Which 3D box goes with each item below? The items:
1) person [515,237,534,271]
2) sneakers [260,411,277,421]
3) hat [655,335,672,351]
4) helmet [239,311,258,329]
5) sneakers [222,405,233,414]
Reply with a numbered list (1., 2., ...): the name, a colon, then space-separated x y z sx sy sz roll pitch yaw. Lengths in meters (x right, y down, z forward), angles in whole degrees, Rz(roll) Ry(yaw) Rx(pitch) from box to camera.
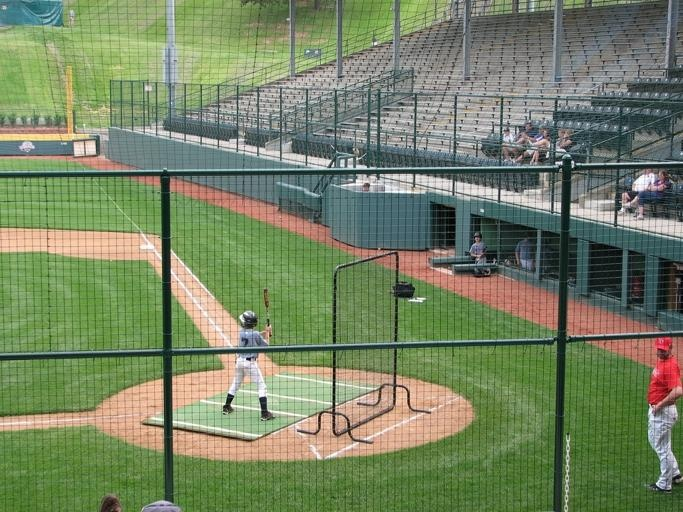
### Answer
1. person: 3.632 -0.159 24.689 0.301 0.883 0.265 2 39 5
2. sneakers: -1.470 3.195 25.610 0.336 0.161 0.122 -4 24 -18
3. hat: 6.111 1.579 23.636 0.275 0.212 0.394 2 10 25
4. helmet: -1.835 1.257 25.500 0.299 0.374 0.389 -3 19 -22
5. sneakers: -2.314 3.104 25.815 0.098 0.175 0.280 7 11 32
